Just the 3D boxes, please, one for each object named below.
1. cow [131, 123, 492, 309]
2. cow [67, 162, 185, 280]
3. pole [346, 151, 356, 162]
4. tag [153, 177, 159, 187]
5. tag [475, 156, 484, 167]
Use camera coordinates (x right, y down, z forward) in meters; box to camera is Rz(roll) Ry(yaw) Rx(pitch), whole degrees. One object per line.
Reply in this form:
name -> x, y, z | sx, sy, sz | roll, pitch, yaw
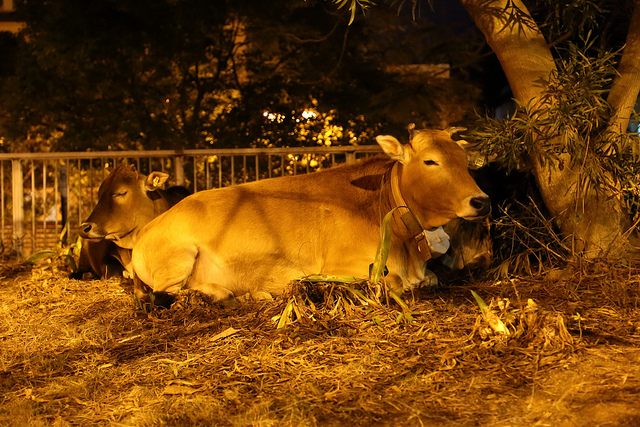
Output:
cow -> -0.084, 0.090, 7.688 | 4.320, 1.975, 1.569 | -7, 8, 0
cow -> -2.163, -0.011, 8.132 | 0.781, 0.883, 1.735 | -3, 15, 16
pole -> 0.416, -0.771, 9.609 | 0.133, 0.194, 0.132 | -8, 9, -41
tag -> -1.814, -0.342, 7.738 | 0.046, 0.092, 0.021 | 19, 1, -22
tag -> 1.684, -0.548, 7.441 | 0.093, 0.090, 0.023 | 7, -8, 13
